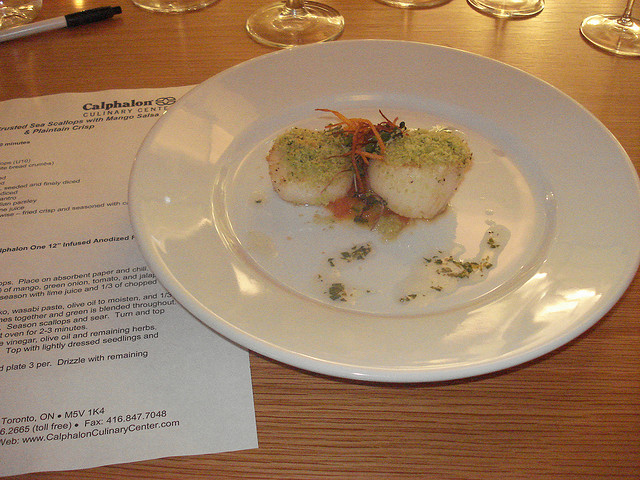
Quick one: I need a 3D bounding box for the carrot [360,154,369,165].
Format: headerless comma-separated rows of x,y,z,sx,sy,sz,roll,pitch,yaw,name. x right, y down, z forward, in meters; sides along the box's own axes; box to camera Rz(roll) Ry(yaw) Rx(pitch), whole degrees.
0.130,-0.229,1.689,0.011,0.038,0.010,-23,44,34,carrot

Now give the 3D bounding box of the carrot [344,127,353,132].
0.083,-0.322,1.714,0.018,0.004,0.012,1,51,6,carrot

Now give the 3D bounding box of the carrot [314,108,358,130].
0.046,-0.357,1.727,0.157,0.014,0.044,23,33,19,carrot

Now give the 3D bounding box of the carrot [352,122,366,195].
0.114,-0.239,1.688,0.037,0.191,0.020,-7,11,-19,carrot

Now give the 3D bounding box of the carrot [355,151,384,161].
0.142,-0.239,1.661,0.116,0.012,0.024,8,6,-29,carrot

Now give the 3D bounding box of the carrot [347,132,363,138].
0.102,-0.301,1.692,0.060,0.012,0.006,21,23,27,carrot
